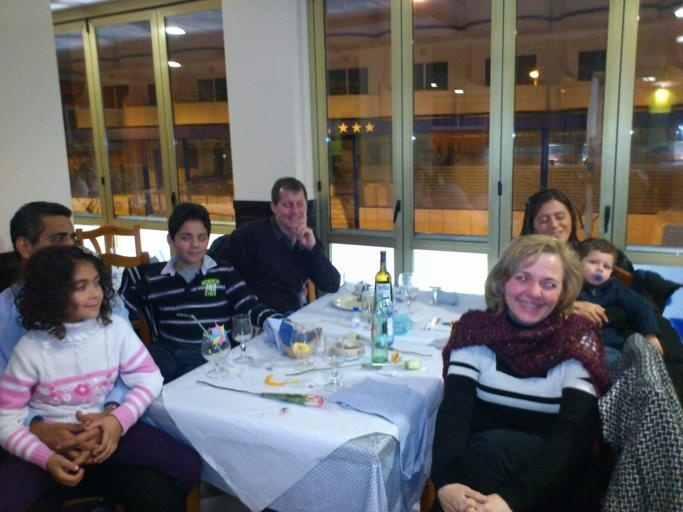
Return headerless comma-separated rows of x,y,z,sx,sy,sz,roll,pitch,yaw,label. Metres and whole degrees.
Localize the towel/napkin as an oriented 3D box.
0.162,0.651,2.130,0.331,0.111,0.346,9,21,21,towel/napkin
